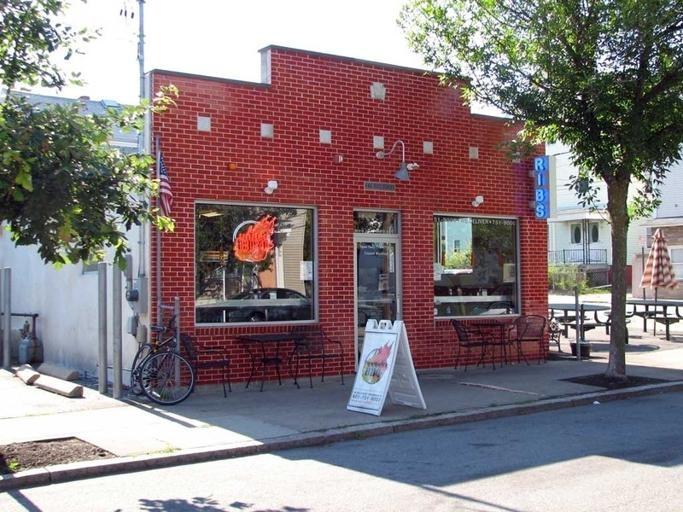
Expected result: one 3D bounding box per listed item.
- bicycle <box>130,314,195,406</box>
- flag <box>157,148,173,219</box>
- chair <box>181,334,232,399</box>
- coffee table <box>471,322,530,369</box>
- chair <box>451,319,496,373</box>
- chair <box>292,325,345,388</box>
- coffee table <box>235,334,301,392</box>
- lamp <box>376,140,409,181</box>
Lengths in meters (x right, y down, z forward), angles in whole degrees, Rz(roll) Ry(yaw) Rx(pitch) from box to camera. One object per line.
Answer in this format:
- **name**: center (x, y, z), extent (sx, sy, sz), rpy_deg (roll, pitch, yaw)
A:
- **bicycle**: center (-3.318, 2.075, 12.363), extent (0.901, 1.196, 1.782), rpy_deg (7, -7, -42)
- **flag**: center (-3.257, -1.353, 12.370), extent (0.264, 1.308, 0.915), rpy_deg (-1, -2, -15)
- **chair**: center (-2.602, 2.075, 13.130), extent (0.973, 1.279, 1.069), rpy_deg (2, -8, -28)
- **coffee table**: center (3.837, 2.142, 16.173), extent (1.070, 1.062, 1.049), rpy_deg (8, -11, -42)
- **chair**: center (3.032, 2.053, 15.799), extent (1.134, 1.652, 0.959), rpy_deg (-2, 1, -17)
- **chair**: center (-0.577, 2.052, 14.138), extent (1.262, 1.631, 1.027), rpy_deg (3, -6, -41)
- **coffee table**: center (-1.514, 2.131, 13.582), extent (1.199, 0.949, 0.758), rpy_deg (5, 4, -18)
- **lamp**: center (1.297, -2.174, 14.912), extent (0.829, 1.003, 0.821), rpy_deg (0, -2, -19)
